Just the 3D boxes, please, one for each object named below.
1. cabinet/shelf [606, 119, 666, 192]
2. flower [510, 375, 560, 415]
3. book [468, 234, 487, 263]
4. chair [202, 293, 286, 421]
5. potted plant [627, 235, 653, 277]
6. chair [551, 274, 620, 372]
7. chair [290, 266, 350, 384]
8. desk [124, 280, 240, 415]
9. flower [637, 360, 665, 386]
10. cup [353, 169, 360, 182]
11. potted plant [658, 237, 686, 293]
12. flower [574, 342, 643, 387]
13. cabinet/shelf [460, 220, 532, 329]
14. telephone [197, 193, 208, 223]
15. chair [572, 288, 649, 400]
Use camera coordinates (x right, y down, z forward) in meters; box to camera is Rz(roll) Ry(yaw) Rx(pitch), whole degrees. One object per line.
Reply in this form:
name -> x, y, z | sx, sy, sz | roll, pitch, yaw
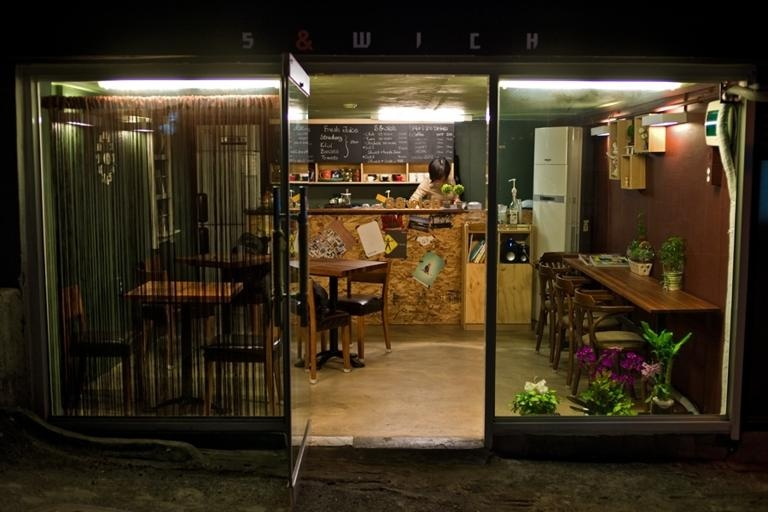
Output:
cabinet/shelf -> 2.399, -0.977, 6.076 | 0.234, 0.832, 0.681 | -1, 3, -20
flower -> 1.244, 1.162, 5.229 | 0.395, 0.228, 0.221 | 2, 13, 6
book -> 1.147, -0.067, 8.098 | 0.125, 0.388, 0.296 | 13, -10, -27
chair -> -1.206, 0.758, 5.351 | 0.613, 0.906, 0.580 | 0, 7, -14
potted plant -> 2.492, 0.026, 6.158 | 0.207, 0.314, 0.285 | -1, 10, 1
chair -> 1.843, 0.611, 5.874 | 0.606, 0.820, 0.644 | -5, 6, -4
chair -> -0.621, 0.715, 6.805 | 0.615, 0.978, 0.615 | 1, 1, -44
desk -> -1.588, 0.659, 5.413 | 0.896, 0.810, 0.866 | 0, -3, 3
flower -> 2.209, 0.981, 5.265 | 0.219, 0.215, 0.053 | 1, 6, 10
cup -> -0.505, -1.480, 11.790 | 0.183, 0.284, 0.184 | 2, -2, 0
potted plant -> 2.680, 0.087, 5.761 | 0.252, 0.454, 0.249 | 8, -7, -12
flower -> 1.934, 0.919, 5.329 | 0.389, 0.202, 0.343 | -2, 8, -28
cabinet/shelf -> 1.057, 0.194, 5.929 | 0.628, 0.944, 0.353 | 1, 4, 7
telephone -> -1.449, -0.378, 5.052 | 0.089, 0.236, 0.041 | -1, 14, -5
chair -> 2.072, 0.840, 5.689 | 0.705, 0.870, 0.697 | 3, -3, -9
